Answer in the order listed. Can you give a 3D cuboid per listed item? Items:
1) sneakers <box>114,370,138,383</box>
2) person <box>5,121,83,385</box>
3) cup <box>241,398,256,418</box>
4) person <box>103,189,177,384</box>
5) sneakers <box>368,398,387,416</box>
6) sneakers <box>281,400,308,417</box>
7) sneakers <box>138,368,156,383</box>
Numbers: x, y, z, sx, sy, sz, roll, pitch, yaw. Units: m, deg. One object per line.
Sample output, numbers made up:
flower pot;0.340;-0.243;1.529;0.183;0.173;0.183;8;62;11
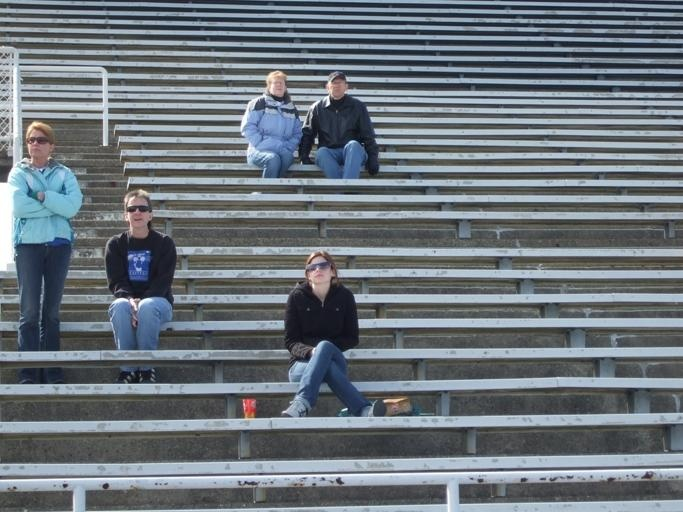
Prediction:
sneakers;-2.268;1.293;25.926;0.267;0.136;0.092;5;3;31
person;-3.156;-0.180;26.069;0.747;2.390;0.601;4;2;-4
cup;-0.968;1.623;25.732;0.184;0.178;0.174;-1;-41;-1
person;-2.142;0.348;26.098;0.727;2.011;0.626;3;2;-6
sneakers;0.333;1.603;25.530;0.104;0.234;0.101;28;-10;-28
sneakers;-0.509;1.597;25.533;0.243;0.185;0.232;5;3;31
sneakers;-2.042;1.276;25.924;0.199;0.145;0.062;3;3;-7
